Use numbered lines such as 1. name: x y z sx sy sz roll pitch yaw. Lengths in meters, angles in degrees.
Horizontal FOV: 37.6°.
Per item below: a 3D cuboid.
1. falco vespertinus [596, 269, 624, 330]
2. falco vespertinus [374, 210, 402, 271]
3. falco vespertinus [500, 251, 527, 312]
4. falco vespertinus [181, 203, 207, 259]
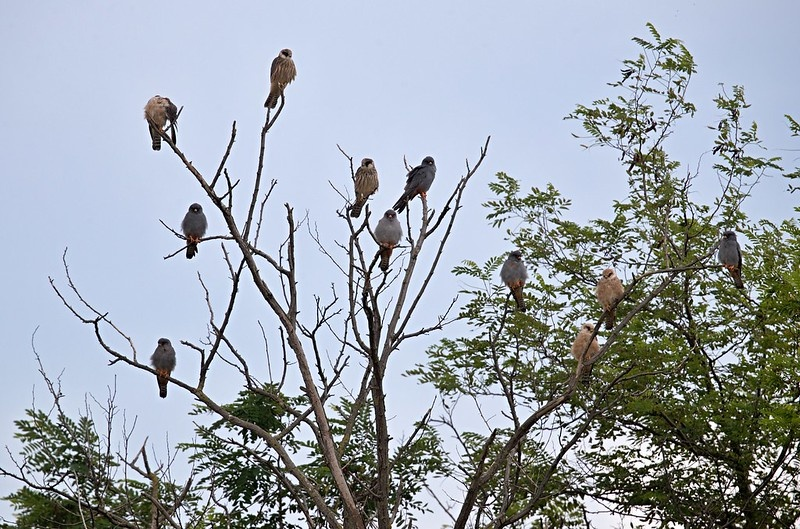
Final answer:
1. falco vespertinus: 3.377 0.576 18.746 0.382 0.519 1.257 -2 -74 4
2. falco vespertinus: -0.160 -0.348 16.810 0.420 0.820 0.918 1 -65 1
3. falco vespertinus: 1.882 0.268 19.138 0.418 1.123 0.383 -2 -10 25
4. falco vespertinus: -3.670 -0.692 21.091 0.399 0.863 0.851 4 -9 -12
